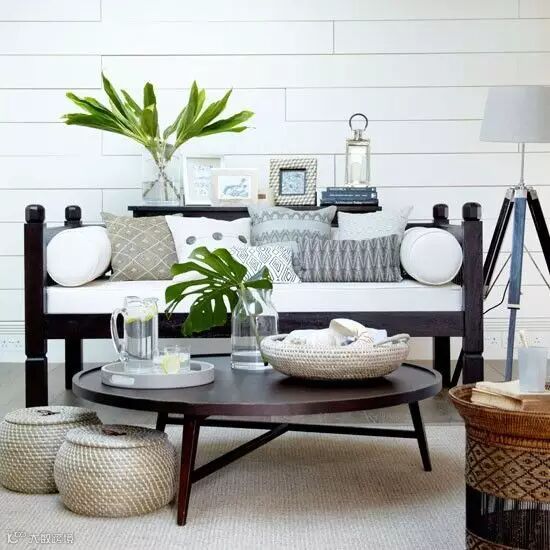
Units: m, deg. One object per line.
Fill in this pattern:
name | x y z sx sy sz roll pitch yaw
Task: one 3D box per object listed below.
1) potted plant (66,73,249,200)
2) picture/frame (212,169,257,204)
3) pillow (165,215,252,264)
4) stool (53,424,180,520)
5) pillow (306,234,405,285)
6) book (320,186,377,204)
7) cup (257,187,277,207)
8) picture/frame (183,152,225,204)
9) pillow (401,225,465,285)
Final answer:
potted plant | -0.659 -0.759 3.184 1.014 0.661 0.457 0 1 1
picture/frame | -0.231 -0.510 3.277 0.218 0.192 0.025 -1 -8 -1
pillow | -0.318 -0.160 2.563 0.274 0.187 0.086 -2 -12 -18
stool | -0.382 0.472 1.346 0.226 0.141 0.229 1 -6 0
pillow | 0.348 -0.077 2.652 0.494 0.250 0.100 -2 6 1
book | 0.424 -0.456 3.223 0.316 0.115 0.093 0 1 0
cup | -0.046 -0.457 3.305 0.094 0.093 0.096 2 4 0
picture/frame | -0.435 -0.572 3.384 0.337 0.411 0.032 0 -13 -5
pillow | 0.682 -0.083 2.437 0.224 0.261 0.093 2 -7 9
